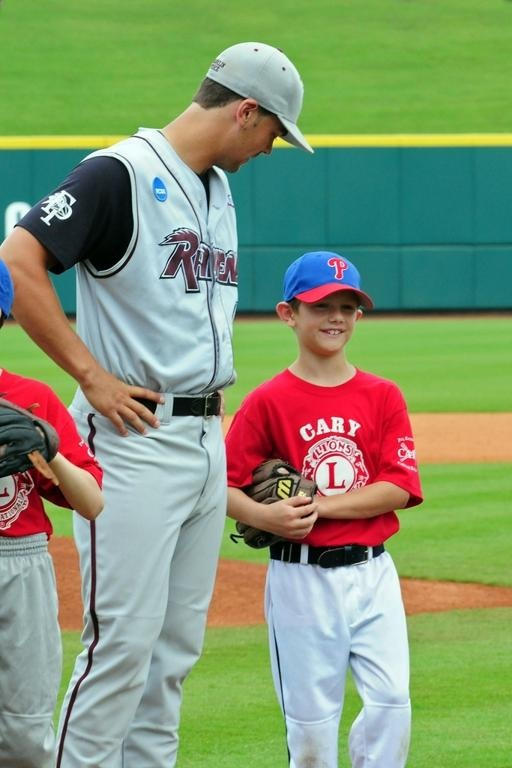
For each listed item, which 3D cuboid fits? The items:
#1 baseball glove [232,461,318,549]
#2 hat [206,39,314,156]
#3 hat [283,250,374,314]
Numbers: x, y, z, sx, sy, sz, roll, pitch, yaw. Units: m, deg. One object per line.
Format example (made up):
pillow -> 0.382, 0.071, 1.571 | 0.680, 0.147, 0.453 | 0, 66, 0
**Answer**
baseball glove -> 0.054, 0.312, 2.993 | 0.224, 0.269, 0.105 | -24, -49, 21
hat -> 0.007, -0.791, 2.901 | 0.371, 0.209, 0.238 | 28, 5, -17
hat -> 0.182, -0.307, 3.177 | 0.178, 0.111, 0.239 | 3, -5, -33
